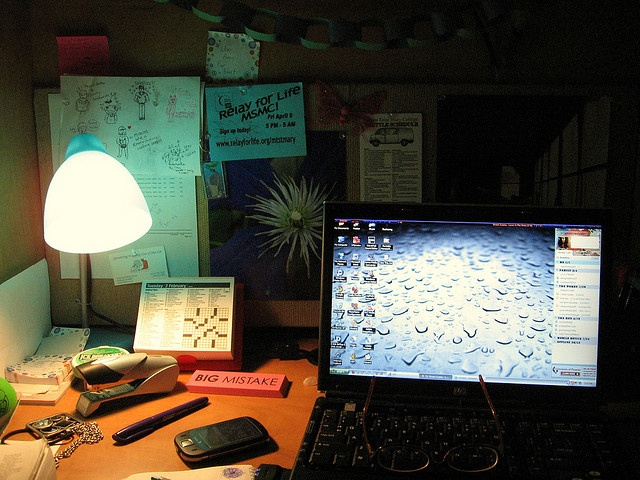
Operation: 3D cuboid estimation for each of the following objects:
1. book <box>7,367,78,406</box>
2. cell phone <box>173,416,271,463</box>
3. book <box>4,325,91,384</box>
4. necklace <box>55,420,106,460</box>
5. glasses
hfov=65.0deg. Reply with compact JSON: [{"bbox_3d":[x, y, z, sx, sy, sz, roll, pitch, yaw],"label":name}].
[{"bbox_3d":[-0.553,0.297,0.996,0.112,0.040,0.078,1,2,-24],"label":"book"},{"bbox_3d":[-0.175,0.341,0.870,0.116,0.018,0.065,-5,17,-21],"label":"cell phone"},{"bbox_3d":[-0.586,0.254,1.086,0.070,0.043,0.125,0,7,2],"label":"book"},{"bbox_3d":[-0.427,0.354,0.887,0.077,0.037,0.066,1,2,-30],"label":"necklace"},{"bbox_3d":[0.195,0.314,0.876,0.246,0.125,0.147,2,2,4],"label":"glasses"}]
